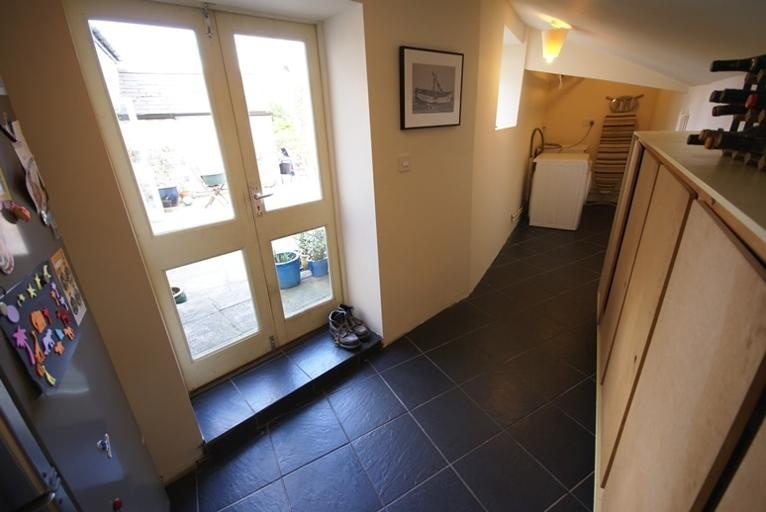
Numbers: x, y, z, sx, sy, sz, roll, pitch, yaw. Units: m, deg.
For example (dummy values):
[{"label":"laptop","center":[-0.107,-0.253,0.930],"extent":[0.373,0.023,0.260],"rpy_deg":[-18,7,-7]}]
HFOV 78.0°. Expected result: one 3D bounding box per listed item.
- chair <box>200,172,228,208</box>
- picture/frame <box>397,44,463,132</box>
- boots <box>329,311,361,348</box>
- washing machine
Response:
[{"label":"chair","center":[-0.991,-0.409,2.856],"extent":[0.124,0.174,0.159],"rpy_deg":[-4,17,-4]},{"label":"picture/frame","center":[0.329,-1.074,3.088],"extent":[0.599,0.477,0.017],"rpy_deg":[-17,23,-42]},{"label":"boots","center":[-0.288,0.525,3.364],"extent":[0.140,0.157,0.309],"rpy_deg":[-15,41,-31]},{"label":"washing machine","center":[2.182,-0.778,5.742],"extent":[0.653,0.761,0.843],"rpy_deg":[7,17,22]}]
